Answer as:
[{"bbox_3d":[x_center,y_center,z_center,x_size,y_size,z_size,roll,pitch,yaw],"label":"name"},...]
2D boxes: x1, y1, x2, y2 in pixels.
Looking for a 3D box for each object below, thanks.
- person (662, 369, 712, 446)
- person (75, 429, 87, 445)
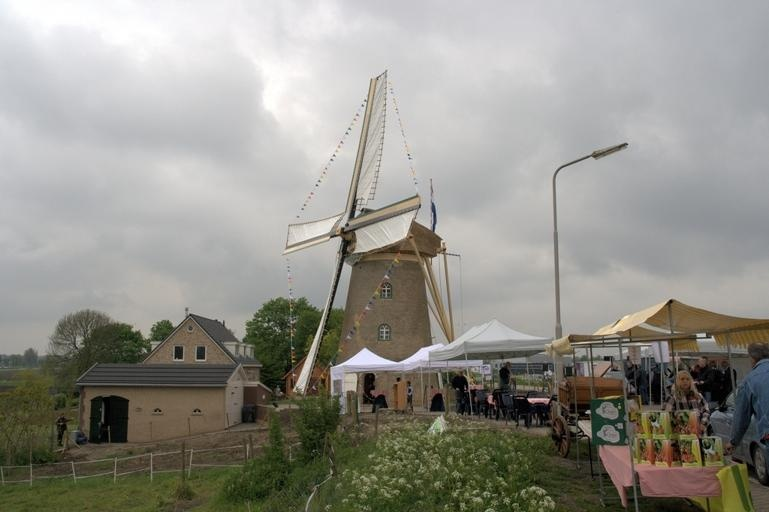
[{"bbox_3d":[7.685,3.762,14.807,0.877,1.595,0.637,-11,-19,27],"label":"person"},{"bbox_3d":[-18.938,11.469,36.423,0.739,1.237,0.965,2,-5,-33],"label":"person"}]
